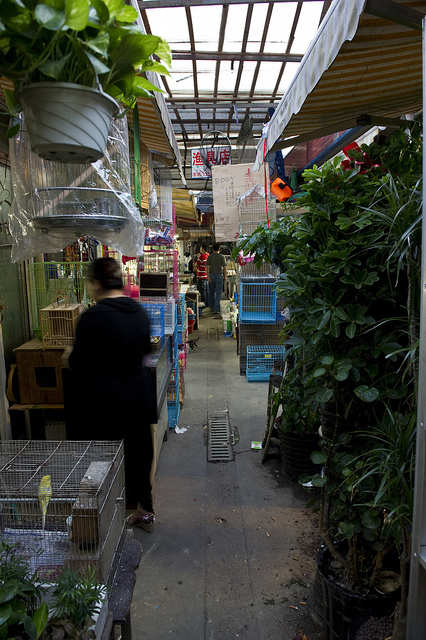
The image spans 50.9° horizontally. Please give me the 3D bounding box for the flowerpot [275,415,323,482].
[{"bbox_3d":[0.648,0.992,3.392,0.340,0.514,0.280,3,8,24],"label":"flowerpot"}]

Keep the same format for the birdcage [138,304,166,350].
[{"bbox_3d":[-0.541,0.050,3.524,0.262,0.385,0.271,2,2,37],"label":"birdcage"}]

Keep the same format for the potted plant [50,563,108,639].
[{"bbox_3d":[-0.305,0.643,1.032,0.113,0.112,0.235,-1,8,-9],"label":"potted plant"}]

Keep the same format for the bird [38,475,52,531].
[{"bbox_3d":[-0.478,0.518,1.271,0.039,0.141,0.054,2,-4,-12],"label":"bird"}]
